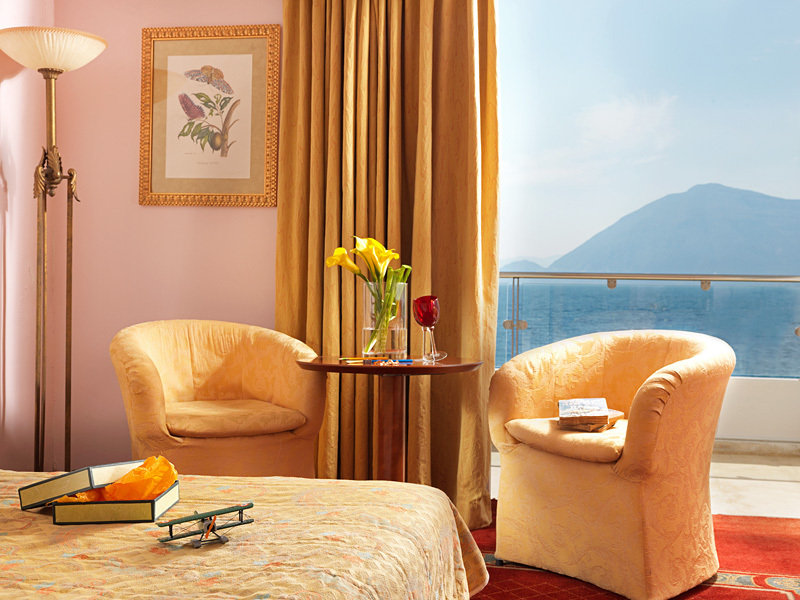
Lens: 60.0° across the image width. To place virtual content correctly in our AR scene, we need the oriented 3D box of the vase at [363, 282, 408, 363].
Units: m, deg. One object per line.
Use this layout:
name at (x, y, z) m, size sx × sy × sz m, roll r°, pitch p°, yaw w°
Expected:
vase at (-0.066, 0.099, 3.032) m, size 0.204 × 0.360 × 0.207 m, roll 0°, pitch -5°, yaw -6°

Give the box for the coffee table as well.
coffee table at (-0.035, 0.423, 2.953) m, size 0.597 × 0.663 × 0.598 m, roll 0°, pitch -6°, yaw -1°

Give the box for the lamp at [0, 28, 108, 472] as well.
lamp at (-1.767, -0.240, 3.631) m, size 0.440 × 2.272 × 0.521 m, roll -6°, pitch 13°, yaw -38°

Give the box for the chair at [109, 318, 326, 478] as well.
chair at (-0.867, 0.512, 3.230) m, size 0.881 × 0.871 × 0.957 m, roll -3°, pitch -6°, yaw 40°

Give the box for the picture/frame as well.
picture/frame at (-1.001, -1.059, 3.846) m, size 0.930 × 1.206 × 0.050 m, roll 0°, pitch -2°, yaw 8°

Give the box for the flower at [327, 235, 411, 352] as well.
flower at (-0.139, 0.026, 3.024) m, size 0.320 × 0.545 × 0.403 m, roll -3°, pitch -6°, yaw -1°
